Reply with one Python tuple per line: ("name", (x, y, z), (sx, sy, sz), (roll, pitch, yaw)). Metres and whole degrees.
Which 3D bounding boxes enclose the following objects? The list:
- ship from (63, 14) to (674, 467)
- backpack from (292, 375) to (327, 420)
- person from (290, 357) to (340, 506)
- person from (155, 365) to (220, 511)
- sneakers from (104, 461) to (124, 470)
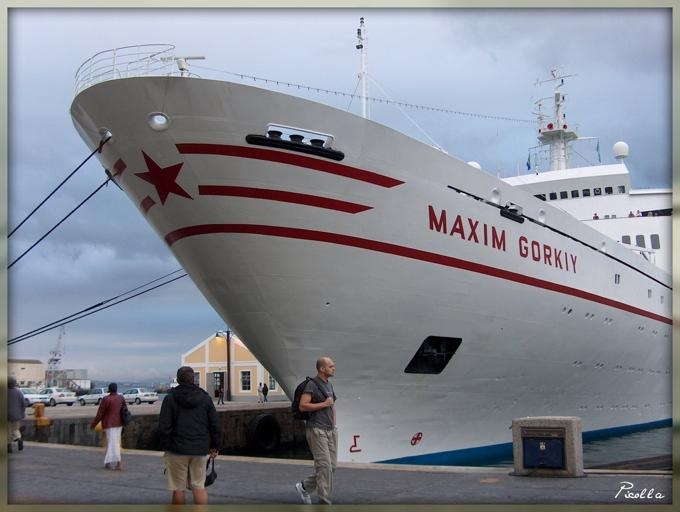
("ship", (2.613, 1.771, 16.788), (4.947, 7.136, 17.953), (-18, -28, 35))
("backpack", (-0.385, 1.794, 9.469), (0.525, 0.577, 0.392), (2, -4, 7))
("person", (-0.322, 2.253, 9.555), (0.533, 1.876, 0.881), (0, -7, -2))
("person", (-1.825, 2.183, 9.030), (0.726, 1.661, 0.370), (1, -7, -12))
("sneakers", (-3.712, 3.438, 12.139), (0.134, 0.187, 0.423), (14, -27, -39))
